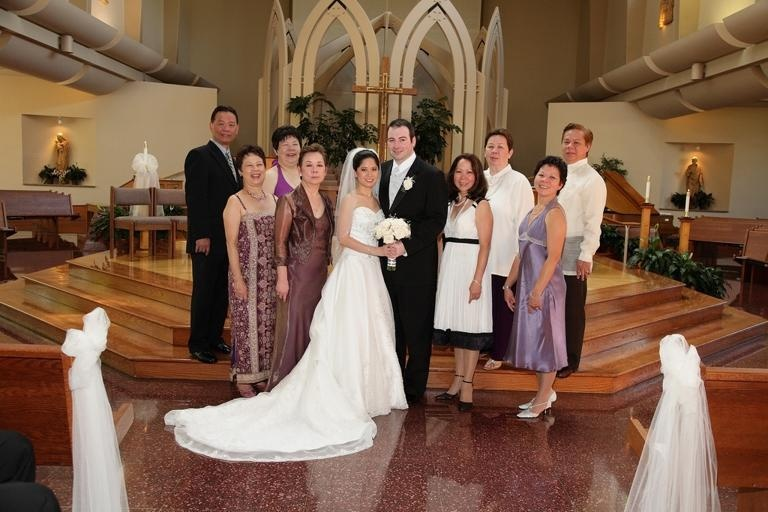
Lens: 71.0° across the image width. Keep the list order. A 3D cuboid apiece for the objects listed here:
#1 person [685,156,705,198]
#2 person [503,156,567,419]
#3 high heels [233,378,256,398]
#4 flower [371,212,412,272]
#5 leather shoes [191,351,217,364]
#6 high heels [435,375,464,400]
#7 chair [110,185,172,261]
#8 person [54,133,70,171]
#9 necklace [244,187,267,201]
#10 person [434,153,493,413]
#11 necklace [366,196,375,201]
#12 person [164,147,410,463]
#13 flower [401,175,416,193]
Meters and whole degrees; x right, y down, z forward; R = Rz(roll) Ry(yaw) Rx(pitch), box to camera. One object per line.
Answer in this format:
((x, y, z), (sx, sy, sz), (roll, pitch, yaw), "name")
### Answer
((8.465, -2.162, 14.774), (0.598, 1.031, 0.300), (-1, 7, -16), "person")
((1.202, 0.253, 4.270), (0.505, 2.059, 0.388), (3, 7, 19), "person")
((-1.129, 1.068, 4.353), (0.128, 0.079, 0.174), (6, -5, -29), "high heels")
((0.065, -0.118, 4.048), (0.352, 0.414, 0.352), (-1, -1, -8), "flower")
((-1.542, 0.858, 4.626), (0.179, 0.070, 0.098), (4, 5, 24), "leather shoes")
((0.503, 1.104, 4.469), (0.280, 0.205, 0.130), (0, 1, -5), "high heels")
((-3.825, -0.547, 8.323), (0.870, 0.995, 1.521), (-3, 8, -34), "chair")
((-8.360, -2.676, 14.002), (0.340, 0.984, 0.213), (-3, 8, -31), "person")
((-1.027, -0.493, 4.310), (0.108, 0.048, 0.094), (11, 0, -1), "necklace")
((0.641, 0.207, 4.326), (0.456, 2.020, 0.306), (2, 7, 10), "person")
((-0.107, -0.452, 4.266), (0.015, 0.032, 0.059), (2, 5, 27), "necklace")
((-0.534, 0.279, 3.949), (1.540, 2.142, 0.876), (-1, 7, -20), "person")
((0.192, -0.556, 4.216), (0.131, 0.143, 0.039), (3, -1, -11), "flower")
